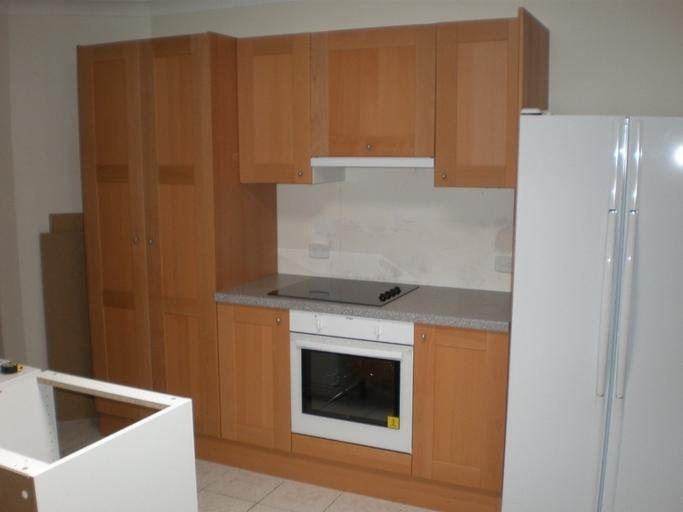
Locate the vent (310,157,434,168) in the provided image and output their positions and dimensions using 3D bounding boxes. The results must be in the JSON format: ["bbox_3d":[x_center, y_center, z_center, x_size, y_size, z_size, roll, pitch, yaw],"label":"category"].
[{"bbox_3d":[0.165,-0.547,3.469,0.738,0.059,0.079,3,8,24],"label":"vent"}]
